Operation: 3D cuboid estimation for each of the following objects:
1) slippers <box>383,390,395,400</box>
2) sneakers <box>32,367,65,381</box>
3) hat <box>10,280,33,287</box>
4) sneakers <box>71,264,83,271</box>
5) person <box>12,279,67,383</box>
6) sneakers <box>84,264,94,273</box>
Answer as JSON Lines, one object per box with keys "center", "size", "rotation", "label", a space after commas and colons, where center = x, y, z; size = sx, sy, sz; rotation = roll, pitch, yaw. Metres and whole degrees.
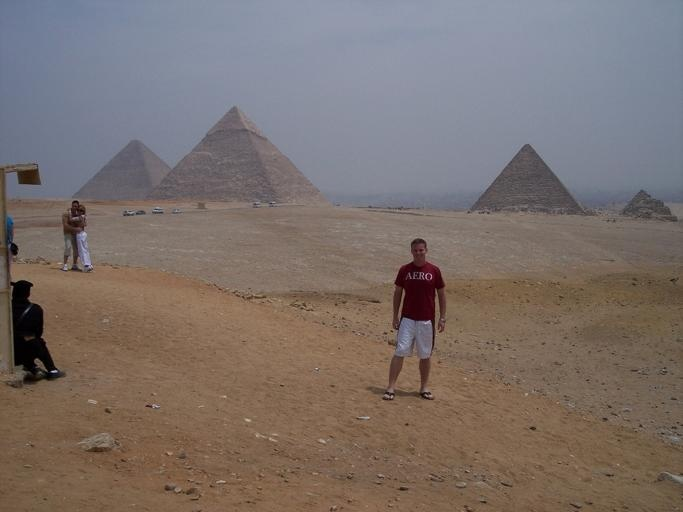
{"center": [0.615, 1.809, 7.160], "size": [0.108, 0.068, 0.218], "rotation": [-1, -5, 5], "label": "slippers"}
{"center": [-3.510, 1.408, 6.587], "size": [0.331, 0.128, 0.126], "rotation": [-1, 5, -12], "label": "sneakers"}
{"center": [-4.204, 0.359, 7.197], "size": [0.271, 0.080, 0.228], "rotation": [1, -3, 1], "label": "hat"}
{"center": [-6.341, 0.271, 13.131], "size": [0.376, 0.146, 0.133], "rotation": [1, 7, -16], "label": "sneakers"}
{"center": [-3.740, 0.904, 6.695], "size": [0.504, 1.139, 0.784], "rotation": [0, 12, -39], "label": "person"}
{"center": [-5.854, 0.289, 12.700], "size": [0.119, 0.140, 0.342], "rotation": [-3, 3, -34], "label": "sneakers"}
